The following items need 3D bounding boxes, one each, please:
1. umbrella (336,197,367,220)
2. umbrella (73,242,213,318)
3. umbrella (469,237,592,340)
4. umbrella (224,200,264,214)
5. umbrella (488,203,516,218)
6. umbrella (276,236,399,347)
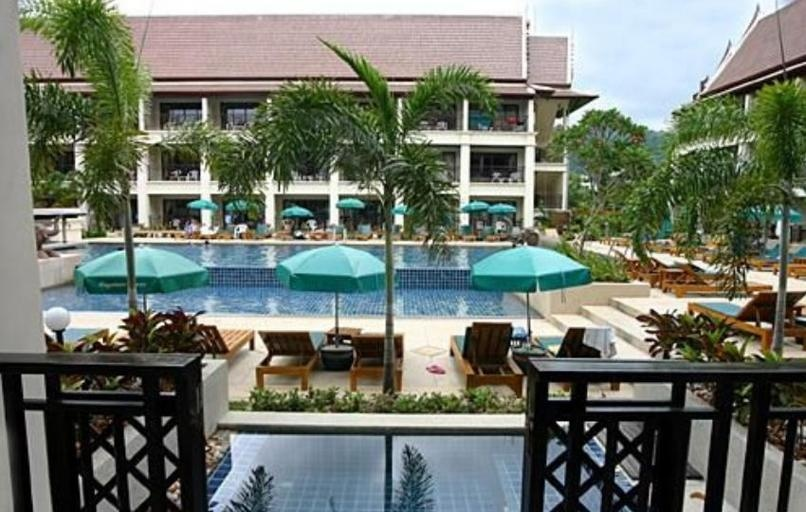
[{"bbox_3d":[-2.361,-2.139,34.409,1.053,0.805,1.090,1,6,7],"label":"umbrella"},{"bbox_3d":[-4.324,0.268,12.077,1.218,0.913,1.298,-2,12,-15],"label":"umbrella"},{"bbox_3d":[2.156,0.468,12.442,1.618,1.523,1.483,1,11,22],"label":"umbrella"},{"bbox_3d":[-2.677,-0.828,12.497,0.485,0.244,2.026,-1,5,-11],"label":"umbrella"},{"bbox_3d":[4.564,-2.132,33.951,1.148,0.485,1.189,1,1,8],"label":"umbrella"},{"bbox_3d":[-1.084,0.679,12.604,1.971,1.746,1.989,-7,12,-30],"label":"umbrella"}]
